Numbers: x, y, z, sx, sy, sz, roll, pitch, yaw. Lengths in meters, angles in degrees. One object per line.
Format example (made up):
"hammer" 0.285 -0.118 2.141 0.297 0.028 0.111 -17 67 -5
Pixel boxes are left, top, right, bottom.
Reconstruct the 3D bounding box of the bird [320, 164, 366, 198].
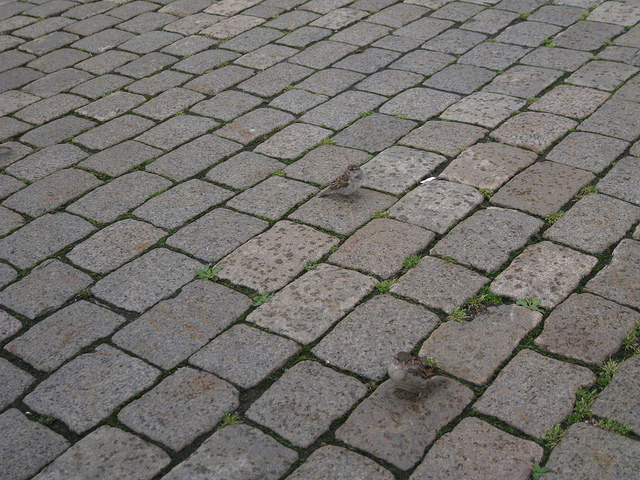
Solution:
"bird" 0.184 -0.515 4.564 0.440 0.252 0.230 -1 24 21

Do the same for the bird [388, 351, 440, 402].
"bird" 0.592 0.814 3.277 0.422 0.235 0.237 -5 14 -37
